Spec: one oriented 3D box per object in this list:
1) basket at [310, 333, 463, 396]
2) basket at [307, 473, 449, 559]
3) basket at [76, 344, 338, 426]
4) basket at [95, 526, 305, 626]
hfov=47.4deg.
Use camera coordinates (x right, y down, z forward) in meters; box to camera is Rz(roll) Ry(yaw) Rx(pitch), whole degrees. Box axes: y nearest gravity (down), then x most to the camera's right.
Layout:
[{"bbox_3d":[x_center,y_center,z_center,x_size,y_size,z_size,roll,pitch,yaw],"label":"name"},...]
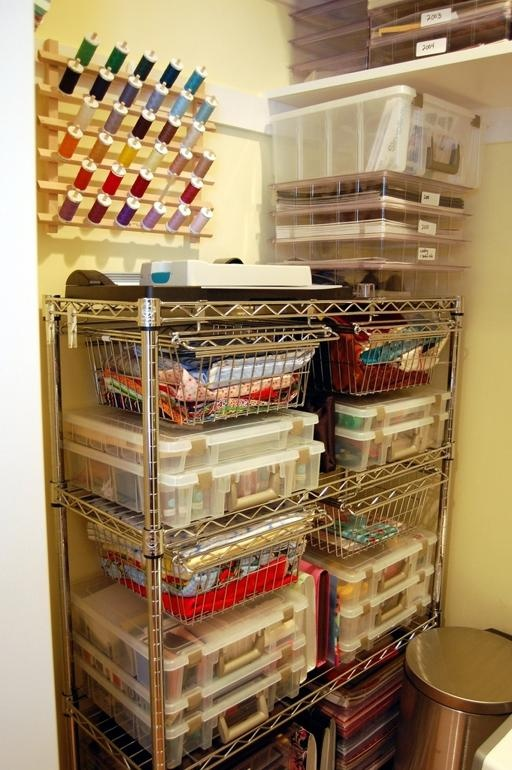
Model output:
[{"bbox_3d":[0.296,-0.068,1.402,0.261,0.110,0.171,-16,22,-40],"label":"basket"},{"bbox_3d":[0.340,0.337,1.575,0.222,0.122,0.339,7,16,41],"label":"basket"},{"bbox_3d":[-0.049,-0.045,1.082,0.218,0.106,0.322,12,17,42],"label":"basket"},{"bbox_3d":[-0.161,0.345,1.150,0.210,0.092,0.281,-8,16,-40],"label":"basket"}]
